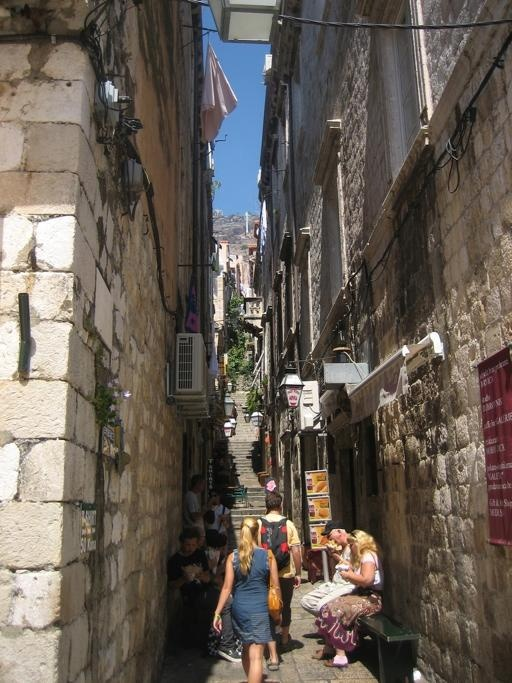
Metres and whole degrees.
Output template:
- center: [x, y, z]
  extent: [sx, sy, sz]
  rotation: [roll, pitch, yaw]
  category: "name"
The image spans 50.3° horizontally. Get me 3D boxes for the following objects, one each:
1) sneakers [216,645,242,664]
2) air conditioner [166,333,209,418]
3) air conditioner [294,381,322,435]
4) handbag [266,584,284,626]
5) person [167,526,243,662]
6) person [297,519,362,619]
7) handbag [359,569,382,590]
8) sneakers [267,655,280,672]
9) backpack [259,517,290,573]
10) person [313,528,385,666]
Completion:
- center: [-0.249, 3.042, 5.343]
  extent: [0.274, 0.215, 0.128]
  rotation: [-5, -15, 26]
  category: "sneakers"
- center: [-0.912, 0.452, 7.427]
  extent: [0.464, 1.091, 1.794]
  rotation: [-1, -17, -5]
  category: "air conditioner"
- center: [1.025, 1.171, 10.294]
  extent: [0.442, 1.421, 0.667]
  rotation: [0, 3, 4]
  category: "air conditioner"
- center: [0.146, 2.014, 4.217]
  extent: [0.087, 0.271, 0.218]
  rotation: [-3, -14, 5]
  category: "handbag"
- center: [-0.478, 2.786, 6.058]
  extent: [0.545, 1.464, 0.537]
  rotation: [-3, -28, -15]
  category: "person"
- center: [0.783, 2.307, 5.561]
  extent: [0.464, 1.268, 0.386]
  rotation: [15, -19, -24]
  category: "person"
- center: [1.092, 2.146, 4.943]
  extent: [0.120, 0.187, 0.239]
  rotation: [-6, -16, 15]
  category: "handbag"
- center: [0.160, 2.831, 4.835]
  extent: [0.086, 0.104, 0.317]
  rotation: [0, -26, -1]
  category: "sneakers"
- center: [0.211, 1.980, 5.505]
  extent: [0.226, 0.581, 0.253]
  rotation: [0, 6, 32]
  category: "backpack"
- center: [0.869, 2.282, 5.072]
  extent: [0.418, 1.376, 0.402]
  rotation: [5, 2, -1]
  category: "person"
